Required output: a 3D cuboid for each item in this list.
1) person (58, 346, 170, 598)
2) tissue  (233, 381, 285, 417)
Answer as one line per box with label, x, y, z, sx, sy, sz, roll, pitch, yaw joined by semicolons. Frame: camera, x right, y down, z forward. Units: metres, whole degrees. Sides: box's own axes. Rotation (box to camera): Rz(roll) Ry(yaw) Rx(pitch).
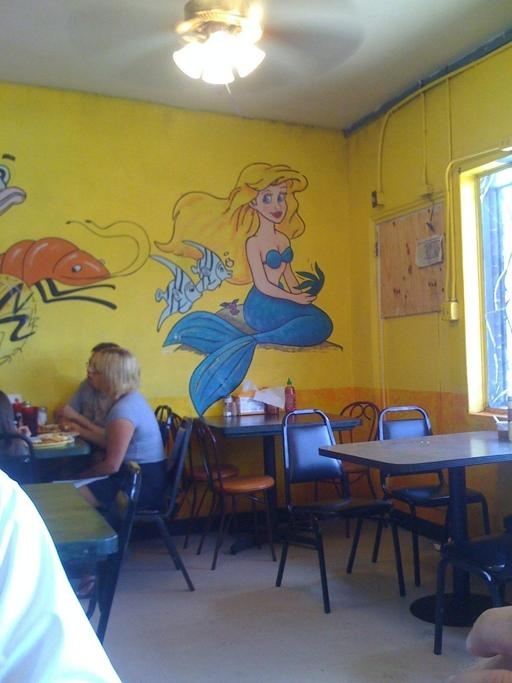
person;-0.793;0.586;3.004;0.618;1.057;0.483;5;4;-18
tissue ;0.024;0.397;4.085;0.249;0.152;0.248;-1;-2;-11
